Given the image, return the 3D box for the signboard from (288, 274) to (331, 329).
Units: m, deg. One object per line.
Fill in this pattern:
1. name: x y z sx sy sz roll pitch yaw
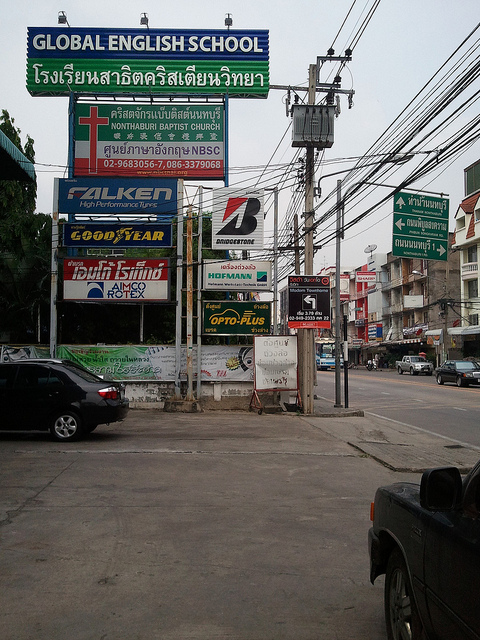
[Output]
1. signboard: 1.927 -0.511 19.387 1.205 0.120 1.959 1 -48 6

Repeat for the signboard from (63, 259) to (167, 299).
1. signboard: -3.798 -1.230 21.311 3.135 1.201 0.171 1 -1 1

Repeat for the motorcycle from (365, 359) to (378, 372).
1. motorcycle: 14.698 5.131 77.723 1.146 1.153 0.756 2 3 0

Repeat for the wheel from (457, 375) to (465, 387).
1. wheel: 11.043 3.001 34.901 0.139 0.574 0.470 2 2 -4

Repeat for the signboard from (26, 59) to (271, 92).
1. signboard: -3.265 -8.784 25.195 8.324 1.444 0.362 1 -1 -2

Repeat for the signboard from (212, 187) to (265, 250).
1. signboard: -0.022 -3.049 21.766 1.667 2.560 0.261 2 -34 4

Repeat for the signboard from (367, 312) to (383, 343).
1. signboard: 16.287 0.859 84.090 0.918 3.565 3.131 0 -1 -1

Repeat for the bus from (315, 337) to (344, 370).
1. bus: 9.031 3.532 73.783 1.714 3.405 5.611 0 -2 8

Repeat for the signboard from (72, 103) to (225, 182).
1. signboard: -3.161 -5.878 23.680 5.228 3.772 0.269 -1 -1 0

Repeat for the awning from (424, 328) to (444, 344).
1. awning: 16.858 1.391 60.636 1.276 1.307 5.538 0 -3 13

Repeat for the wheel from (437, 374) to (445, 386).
1. wheel: 10.711 3.154 37.251 0.148 0.578 0.474 3 -1 -5

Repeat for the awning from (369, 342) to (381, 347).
1. awning: 16.028 2.935 83.007 0.834 0.422 3.989 1 -3 0

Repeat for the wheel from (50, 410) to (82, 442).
1. wheel: -3.083 1.850 12.380 0.359 0.531 0.156 2 -3 0

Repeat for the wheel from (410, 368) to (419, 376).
1. wheel: 13.115 3.868 52.574 0.614 0.573 1.575 0 -3 12

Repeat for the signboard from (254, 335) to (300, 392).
1. signboard: 1.022 1.243 19.818 1.053 1.827 0.110 -1 0 -4
